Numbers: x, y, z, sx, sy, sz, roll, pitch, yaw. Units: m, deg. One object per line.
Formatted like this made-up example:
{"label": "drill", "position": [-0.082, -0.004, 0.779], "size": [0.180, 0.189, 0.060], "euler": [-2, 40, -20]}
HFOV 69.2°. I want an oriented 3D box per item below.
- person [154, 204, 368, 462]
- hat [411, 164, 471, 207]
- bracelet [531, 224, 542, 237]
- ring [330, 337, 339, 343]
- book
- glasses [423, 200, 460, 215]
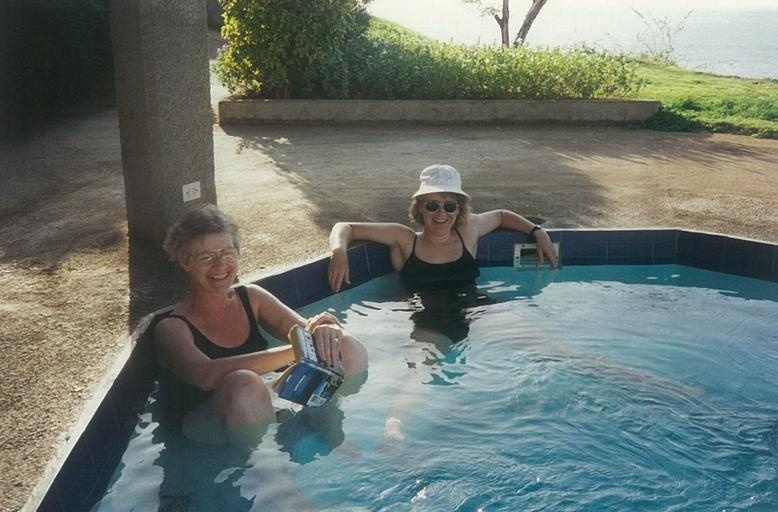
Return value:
{"label": "person", "position": [-0.993, 0.457, 3.977], "size": [1.230, 1.534, 0.901], "euler": [-10, 22, -22]}
{"label": "hat", "position": [0.498, -0.742, 5.602], "size": [0.449, 0.221, 0.447], "euler": [1, -7, 3]}
{"label": "bracelet", "position": [1.613, -0.295, 6.224], "size": [0.133, 0.086, 0.120], "euler": [-27, 21, 16]}
{"label": "ring", "position": [-0.381, 0.593, 4.011], "size": [0.040, 0.012, 0.032], "euler": [14, 17, 17]}
{"label": "book", "position": [-0.536, 0.792, 3.721], "size": [0.542, 0.536, 0.174], "euler": [-34, 53, -9]}
{"label": "glasses", "position": [0.495, -0.480, 5.399], "size": [0.294, 0.118, 0.060], "euler": [-2, 20, -3]}
